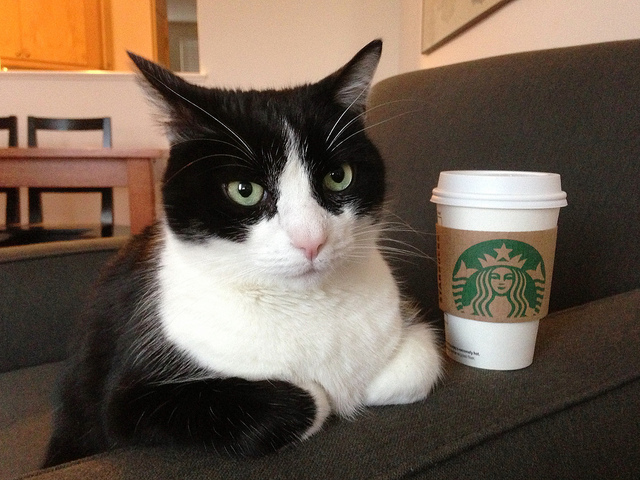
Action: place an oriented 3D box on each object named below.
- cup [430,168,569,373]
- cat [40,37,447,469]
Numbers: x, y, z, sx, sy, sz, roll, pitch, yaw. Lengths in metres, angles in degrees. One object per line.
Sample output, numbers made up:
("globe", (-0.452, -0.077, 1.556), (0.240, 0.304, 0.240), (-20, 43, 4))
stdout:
("cup", (0.304, 0.038, 1.234), (0.316, 0.468, 0.337), (0, 4, 0))
("cat", (-0.138, -0.014, 1.085), (0.743, 0.727, 0.410), (1, 11, 8))
